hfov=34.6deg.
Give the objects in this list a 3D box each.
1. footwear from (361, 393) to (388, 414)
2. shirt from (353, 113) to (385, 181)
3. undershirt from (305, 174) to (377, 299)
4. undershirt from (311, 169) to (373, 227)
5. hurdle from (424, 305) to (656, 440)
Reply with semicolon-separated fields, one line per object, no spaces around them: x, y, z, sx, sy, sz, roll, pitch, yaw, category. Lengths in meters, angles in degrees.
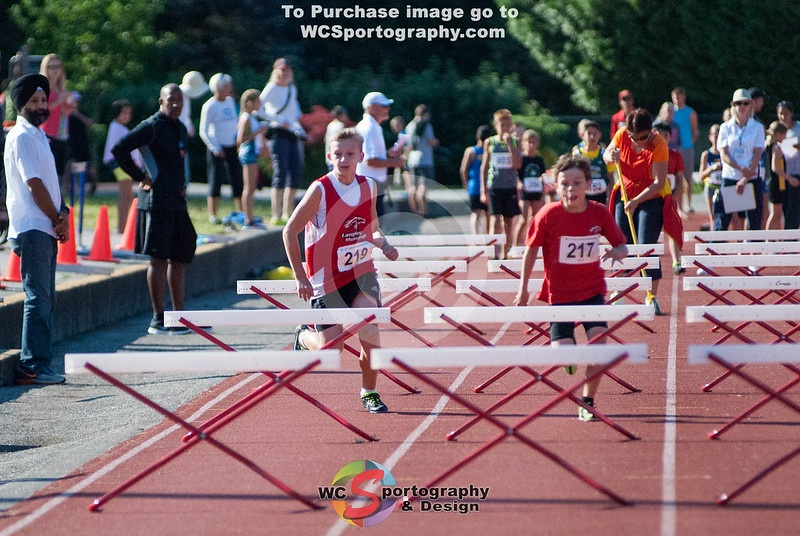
-0.270;1.516;14.629;0.146;0.177;0.366;0;-2;-32;footwear
-0.419;-1.724;18.527;0.457;1.236;1.150;-1;11;3;shirt
-0.556;-0.656;14.280;0.771;0.803;0.441;-5;-1;-22;undershirt
-0.617;-0.831;14.386;0.873;0.900;0.492;1;1;-6;undershirt
1.587;1.079;14.244;2.229;1.185;1.312;-3;-8;5;hurdle
